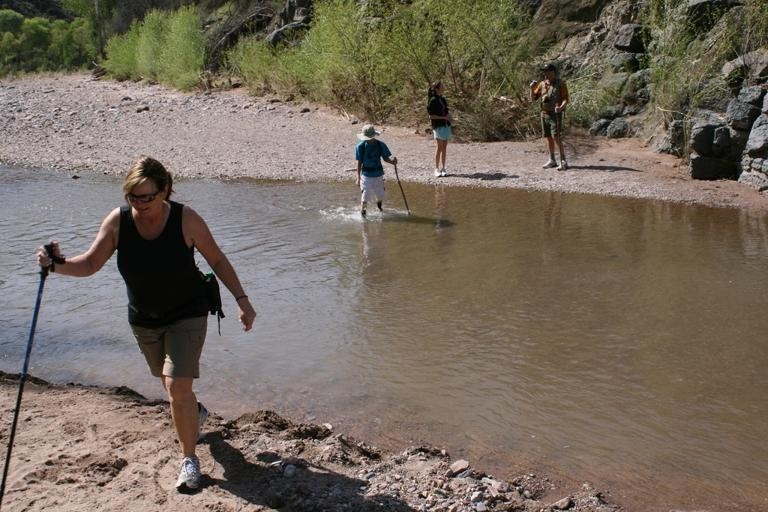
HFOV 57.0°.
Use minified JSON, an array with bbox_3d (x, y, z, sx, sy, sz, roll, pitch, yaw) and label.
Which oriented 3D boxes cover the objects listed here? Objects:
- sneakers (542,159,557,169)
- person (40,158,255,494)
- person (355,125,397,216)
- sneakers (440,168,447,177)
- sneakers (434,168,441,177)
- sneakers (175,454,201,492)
[{"bbox_3d":[3.867,-2.146,16.335,0.454,0.183,0.150,-1,15,-5],"label":"sneakers"},{"bbox_3d":[-1.954,0.543,6.413,1.252,2.839,1.007,13,21,39],"label":"person"},{"bbox_3d":[-0.168,-1.650,13.450,0.686,1.743,1.475,-1,15,-1],"label":"person"},{"bbox_3d":[1.360,-1.933,16.232,0.203,0.195,0.201,0,42,2],"label":"sneakers"},{"bbox_3d":[1.217,-1.942,16.267,0.230,0.209,0.577,-1,6,-4],"label":"sneakers"},{"bbox_3d":[-1.711,1.945,6.237,0.157,0.141,0.354,-3,6,-10],"label":"sneakers"}]
